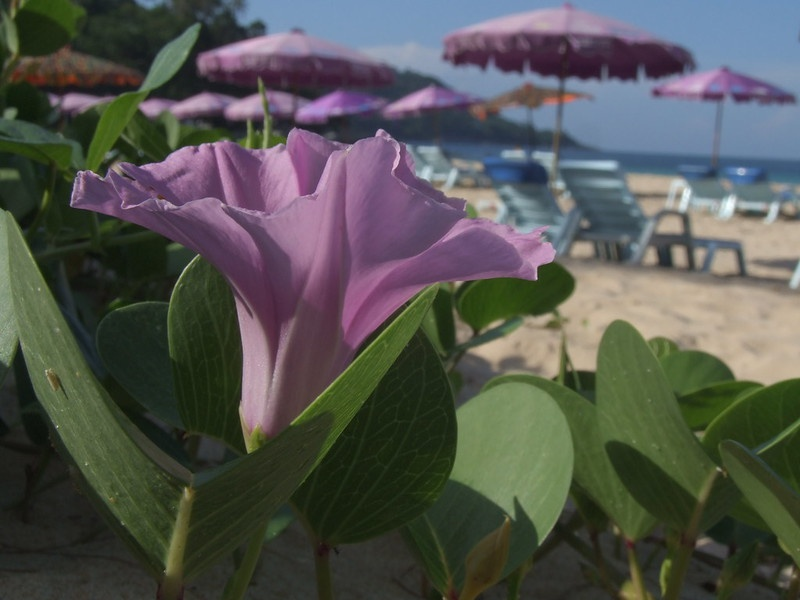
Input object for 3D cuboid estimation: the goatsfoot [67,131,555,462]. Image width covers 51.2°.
[{"bbox_3d":[-0.096,0.037,0.923,0.331,0.345,0.509,24,21,22],"label":"goatsfoot"}]
